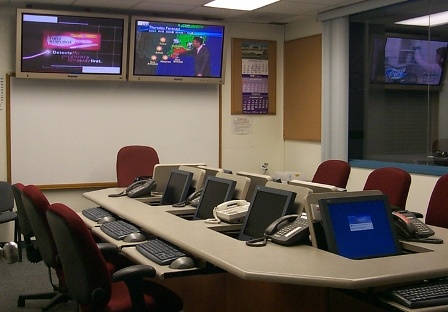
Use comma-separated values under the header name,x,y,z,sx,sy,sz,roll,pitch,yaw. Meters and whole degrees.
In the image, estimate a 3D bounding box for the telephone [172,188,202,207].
name,x,y,z,sx,sy,sz,roll,pitch,yaw
telephone,-0.372,0.429,3.519,0.226,0.081,0.159,-13,7,-5

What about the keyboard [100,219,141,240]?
name,x,y,z,sx,sy,sz,roll,pitch,yaw
keyboard,-0.993,0.656,3.208,0.225,0.088,0.441,-9,-11,3

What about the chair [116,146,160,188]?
name,x,y,z,sx,sy,sz,roll,pitch,yaw
chair,-1.465,0.184,5.511,0.652,0.863,0.638,1,-4,-22

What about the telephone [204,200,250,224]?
name,x,y,z,sx,sy,sz,roll,pitch,yaw
telephone,0.059,0.440,2.841,0.278,0.106,0.201,-3,1,-29

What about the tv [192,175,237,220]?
name,x,y,z,sx,sy,sz,roll,pitch,yaw
tv,-0.079,0.388,3.099,0.071,0.486,0.435,25,-18,-33

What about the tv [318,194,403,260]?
name,x,y,z,sx,sy,sz,roll,pitch,yaw
tv,0.842,0.458,2.161,0.443,0.316,0.043,1,-28,-23

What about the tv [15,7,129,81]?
name,x,y,z,sx,sy,sz,roll,pitch,yaw
tv,-2.318,-1.673,5.031,1.202,0.754,0.079,0,4,-16

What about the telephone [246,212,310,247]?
name,x,y,z,sx,sy,sz,roll,pitch,yaw
telephone,0.388,0.451,2.239,0.301,0.110,0.218,-12,2,-30

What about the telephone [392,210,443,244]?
name,x,y,z,sx,sy,sz,roll,pitch,yaw
telephone,1.355,0.470,2.415,0.237,0.099,0.258,2,2,-37

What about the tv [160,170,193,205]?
name,x,y,z,sx,sy,sz,roll,pitch,yaw
tv,-0.521,0.346,3.750,0.061,0.425,0.379,22,-9,-36
